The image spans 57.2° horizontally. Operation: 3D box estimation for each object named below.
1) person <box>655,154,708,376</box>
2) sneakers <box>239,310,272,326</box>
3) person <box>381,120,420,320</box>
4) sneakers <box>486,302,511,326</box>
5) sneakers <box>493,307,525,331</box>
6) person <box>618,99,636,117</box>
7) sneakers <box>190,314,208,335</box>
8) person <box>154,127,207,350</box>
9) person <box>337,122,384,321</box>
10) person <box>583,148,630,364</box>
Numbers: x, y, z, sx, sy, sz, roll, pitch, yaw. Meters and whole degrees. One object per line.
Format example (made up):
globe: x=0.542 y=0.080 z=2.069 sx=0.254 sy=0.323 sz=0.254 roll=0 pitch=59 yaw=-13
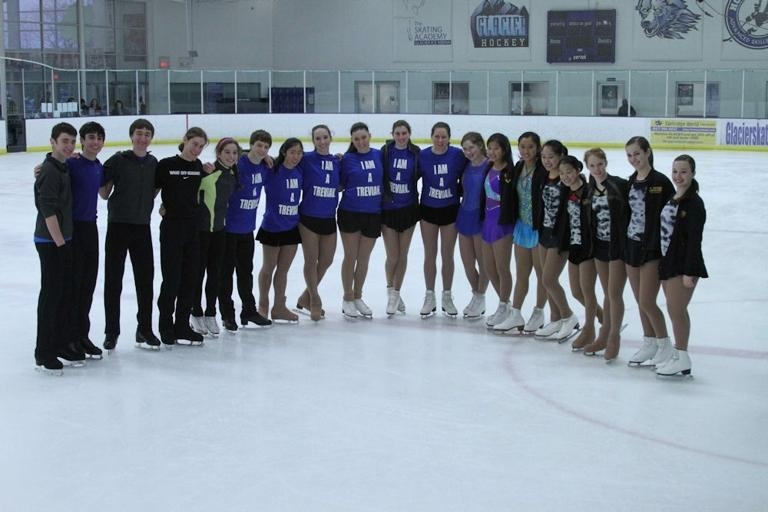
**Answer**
person: x=2.468 y=0.103 z=5.854 sx=0.384 sy=1.830 sz=0.378 roll=5 pitch=15 yaw=22
sneakers: x=-1.351 y=0.646 z=7.334 sx=0.380 sy=0.175 sz=0.131 roll=-1 pitch=4 yaw=-11
person: x=0.159 y=-0.415 z=7.676 sx=0.441 sy=2.058 sz=0.270 roll=-9 pitch=16 yaw=-33
sneakers: x=1.169 y=0.604 z=7.286 sx=0.358 sy=0.159 sz=0.125 roll=-25 pitch=16 yaw=-38
sneakers: x=1.287 y=0.658 z=7.261 sx=0.393 sy=0.285 sz=0.160 roll=-2 pitch=3 yaw=-8
person: x=8.653 y=-5.245 z=24.985 sx=0.556 sy=0.973 sz=0.323 roll=1 pitch=30 yaw=34
sneakers: x=-1.861 y=0.686 z=7.048 sx=0.276 sy=0.124 sz=0.102 roll=19 pitch=9 yaw=42
person: x=-1.891 y=-0.150 z=6.595 sx=0.567 sy=2.043 sz=0.305 roll=-4 pitch=14 yaw=-15
person: x=-0.255 y=-0.364 z=7.525 sx=0.497 sy=2.038 sz=0.362 roll=-1 pitch=13 yaw=-2
person: x=1.985 y=0.000 z=6.319 sx=0.274 sy=1.862 sz=0.476 roll=-12 pitch=18 yaw=-40
